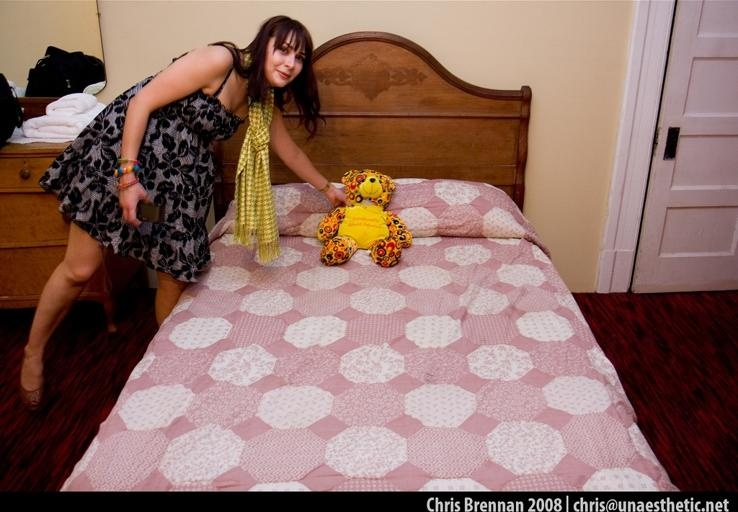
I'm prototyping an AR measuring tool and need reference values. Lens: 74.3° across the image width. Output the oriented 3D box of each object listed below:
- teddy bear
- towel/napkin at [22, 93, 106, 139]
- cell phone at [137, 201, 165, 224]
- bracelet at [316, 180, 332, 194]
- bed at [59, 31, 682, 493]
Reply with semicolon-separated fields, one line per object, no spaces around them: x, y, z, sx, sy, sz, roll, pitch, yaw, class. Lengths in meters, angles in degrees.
-0.010;-0.201;2.446;0.474;0.460;0.381;6;12;-4;teddy bear
-1.623;-0.717;2.667;0.329;0.160;0.456;-3;16;-2;towel/napkin
-0.817;-0.164;1.827;0.089;0.050;0.048;1;-3;24;cell phone
-0.219;-0.352;2.474;0.062;0.044;0.060;-4;21;-7;bracelet
-0.065;-0.071;2.131;1.645;0.812;1.786;0;28;2;bed
